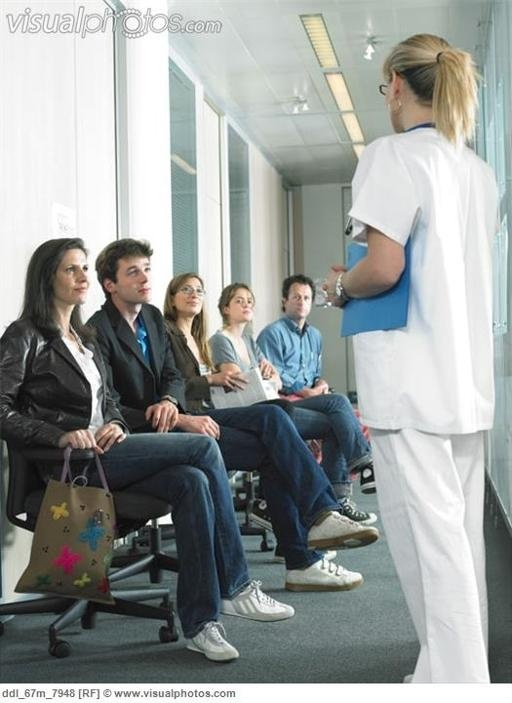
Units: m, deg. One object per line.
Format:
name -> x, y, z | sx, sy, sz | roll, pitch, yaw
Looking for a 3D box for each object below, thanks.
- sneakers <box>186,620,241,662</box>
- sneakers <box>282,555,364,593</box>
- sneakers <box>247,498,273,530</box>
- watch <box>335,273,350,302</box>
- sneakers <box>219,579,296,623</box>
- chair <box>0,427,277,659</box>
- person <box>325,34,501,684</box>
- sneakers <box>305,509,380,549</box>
sneakers -> -0.124, 0.820, 1.908 | 0.070, 0.079, 0.194 | 13, -20, -39
sneakers -> 0.249, 0.842, 2.582 | 0.317, 0.120, 0.109 | -1, -4, -2
sneakers -> -0.015, 0.787, 3.322 | 0.127, 0.124, 0.337 | 2, -13, -6
watch -> 0.205, -0.155, 1.671 | 0.036, 0.057, 0.054 | -2, 12, 0
sneakers -> 0.005, 0.816, 2.232 | 0.282, 0.098, 0.098 | 4, -1, -2
chair -> -0.211, 0.582, 2.322 | 0.647, 0.864, 0.605 | -6, -8, 31
person -> 0.404, 0.016, 1.597 | 0.430, 1.323, 0.242 | -6, 1, 5
sneakers -> 0.296, 0.641, 2.455 | 0.304, 0.132, 0.105 | -5, -2, 16
